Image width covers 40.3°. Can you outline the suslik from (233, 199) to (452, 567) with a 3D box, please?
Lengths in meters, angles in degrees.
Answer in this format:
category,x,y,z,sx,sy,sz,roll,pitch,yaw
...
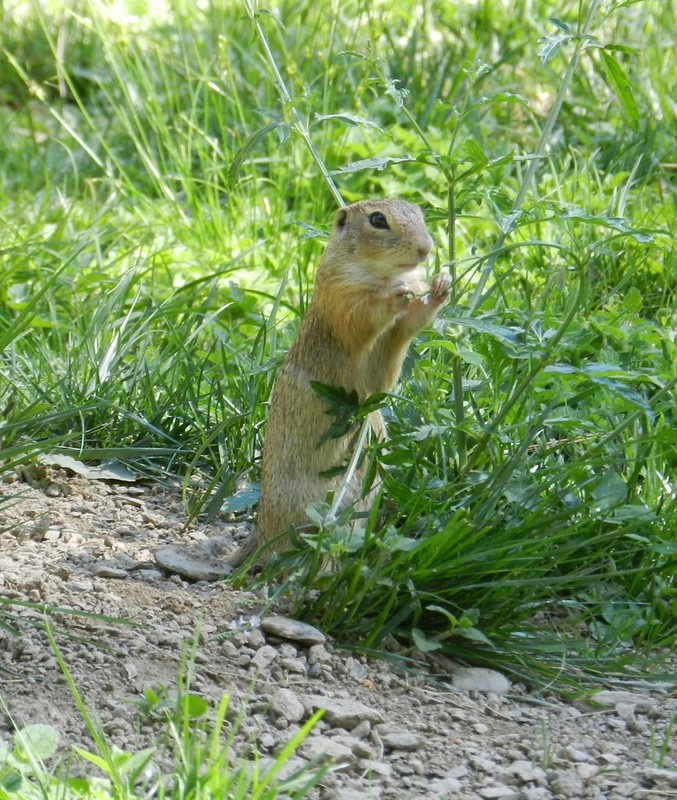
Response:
category,x,y,z,sx,sy,sz,roll,pitch,yaw
suslik,-0.009,-0.029,2.974,0.388,1.191,0.650,19,31,-7
